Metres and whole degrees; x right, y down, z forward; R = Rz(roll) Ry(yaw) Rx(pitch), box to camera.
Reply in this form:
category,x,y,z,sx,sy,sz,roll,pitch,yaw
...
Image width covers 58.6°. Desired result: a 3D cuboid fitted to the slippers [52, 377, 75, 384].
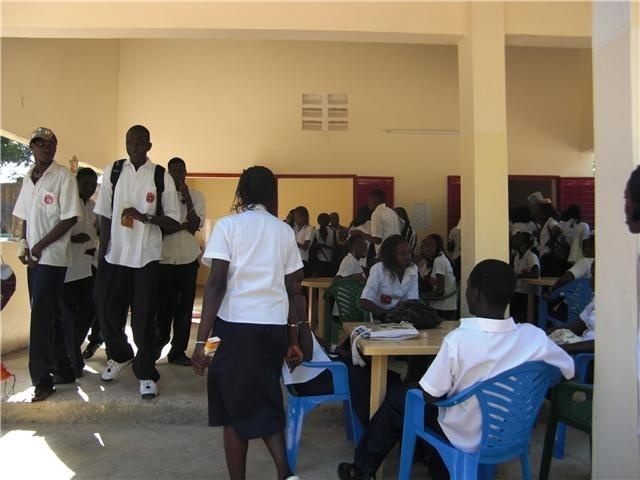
category,x,y,z,sx,sy,sz,roll,pitch,yaw
slippers,-2.060,1.125,4.541,0.155,0.065,0.051,19,-12,-41

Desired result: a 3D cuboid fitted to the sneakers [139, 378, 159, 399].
category,x,y,z,sx,sy,sz,roll,pitch,yaw
sneakers,-1.303,1.130,4.268,0.072,0.096,0.206,1,0,-8

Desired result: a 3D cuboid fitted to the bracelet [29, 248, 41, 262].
category,x,y,z,sx,sy,sz,roll,pitch,yaw
bracelet,-2.103,0.108,4.176,0.073,0.106,0.036,6,7,-23

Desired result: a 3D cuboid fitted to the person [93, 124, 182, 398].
category,x,y,z,sx,sy,sz,roll,pitch,yaw
person,-1.417,0.173,4.368,0.653,2.039,0.462,0,4,-5

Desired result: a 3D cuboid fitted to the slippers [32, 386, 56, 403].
category,x,y,z,sx,sy,sz,roll,pitch,yaw
slippers,-2.069,1.154,4.215,0.064,0.079,0.182,-2,-13,23

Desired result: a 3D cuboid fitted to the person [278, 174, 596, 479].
category,x,y,z,sx,sy,sz,roll,pitch,yaw
person,0.758,0.708,3.501,1.009,1.759,1.319,-1,10,-29

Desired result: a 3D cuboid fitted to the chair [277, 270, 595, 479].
category,x,y,z,sx,sy,sz,roll,pitch,yaw
chair,0.735,0.785,3.148,1.136,1.363,0.540,4,5,40

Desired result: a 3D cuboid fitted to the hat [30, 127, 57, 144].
category,x,y,z,sx,sy,sz,roll,pitch,yaw
hat,-2.104,-0.784,4.281,0.171,0.122,0.170,2,5,28

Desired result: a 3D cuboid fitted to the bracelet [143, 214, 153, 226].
category,x,y,z,sx,sy,sz,roll,pitch,yaw
bracelet,-1.294,-0.139,4.238,0.043,0.066,0.067,34,14,31

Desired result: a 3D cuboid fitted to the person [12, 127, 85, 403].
category,x,y,z,sx,sy,sz,roll,pitch,yaw
person,-2.067,0.180,4.336,0.417,2.010,0.408,-3,5,-37

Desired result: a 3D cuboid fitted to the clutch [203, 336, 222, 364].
category,x,y,z,sx,sy,sz,roll,pitch,yaw
clutch,-0.594,0.611,3.155,0.101,0.135,0.058,3,5,33
